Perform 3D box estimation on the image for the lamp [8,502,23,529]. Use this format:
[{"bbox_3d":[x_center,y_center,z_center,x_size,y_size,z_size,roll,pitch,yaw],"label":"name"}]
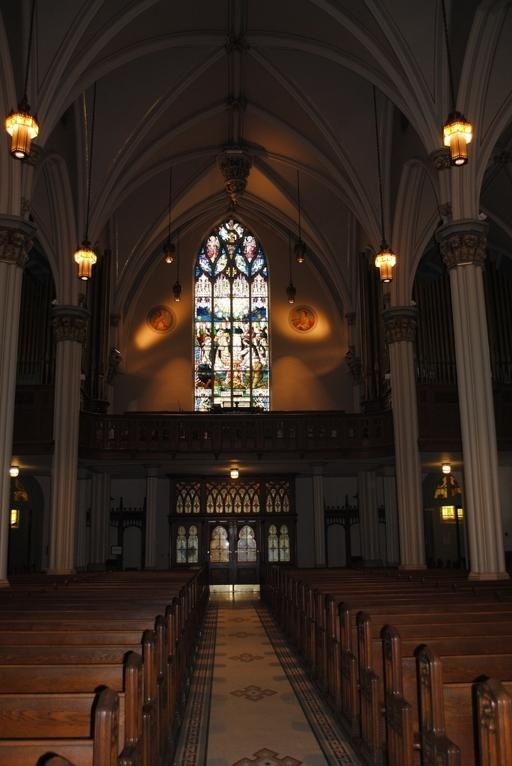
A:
[{"bbox_3d":[-8.340,4.584,22.581,0.225,0.897,0.472,-7,-13,11],"label":"lamp"}]
